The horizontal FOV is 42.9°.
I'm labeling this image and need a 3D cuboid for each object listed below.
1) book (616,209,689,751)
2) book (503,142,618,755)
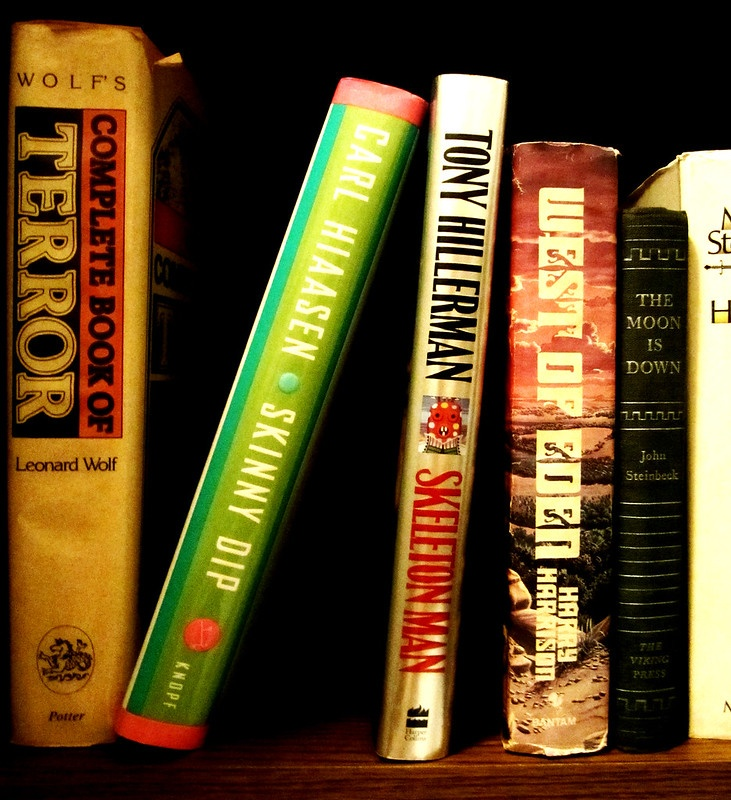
[{"bbox_3d":[0.198,0.054,0.644,0.057,0.369,0.076,2,10,13],"label":"book"},{"bbox_3d":[0.133,0.033,0.639,0.072,0.412,0.084,1,10,6],"label":"book"}]
